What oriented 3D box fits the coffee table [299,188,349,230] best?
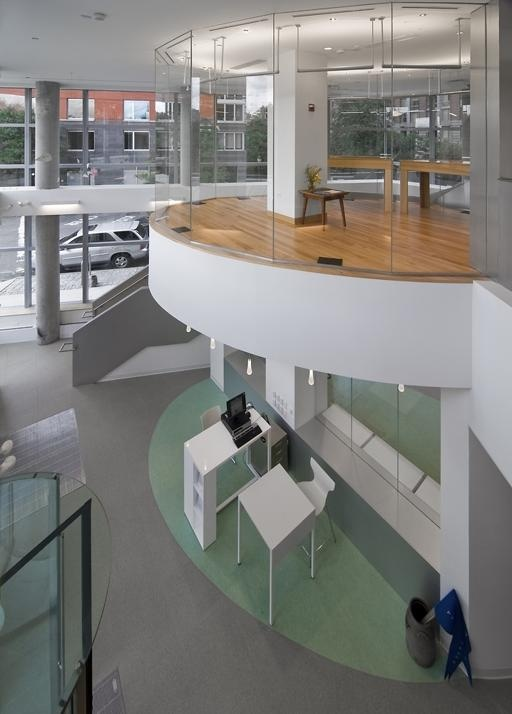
[{"bbox_3d":[0.894,-2.062,6.661,0.499,0.536,0.536,-18,32,-27],"label":"coffee table"}]

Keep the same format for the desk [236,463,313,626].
[{"bbox_3d":[0.232,1.926,5.427,0.674,0.894,1.111,-7,17,-20],"label":"desk"}]

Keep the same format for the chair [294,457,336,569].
[{"bbox_3d":[0.694,1.853,5.888,0.555,0.998,0.497,-21,32,-39],"label":"chair"}]

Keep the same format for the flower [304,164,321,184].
[{"bbox_3d":[0.751,-2.434,6.871,0.187,0.302,0.241,1,15,-8],"label":"flower"}]

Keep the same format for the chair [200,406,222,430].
[{"bbox_3d":[-0.687,0.932,7.626,0.204,0.419,0.255,-20,47,-27],"label":"chair"}]

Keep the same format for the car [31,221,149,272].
[{"bbox_3d":[-4.427,-3.251,14.054,2.886,1.383,1.519,-8,31,-11],"label":"car"}]
